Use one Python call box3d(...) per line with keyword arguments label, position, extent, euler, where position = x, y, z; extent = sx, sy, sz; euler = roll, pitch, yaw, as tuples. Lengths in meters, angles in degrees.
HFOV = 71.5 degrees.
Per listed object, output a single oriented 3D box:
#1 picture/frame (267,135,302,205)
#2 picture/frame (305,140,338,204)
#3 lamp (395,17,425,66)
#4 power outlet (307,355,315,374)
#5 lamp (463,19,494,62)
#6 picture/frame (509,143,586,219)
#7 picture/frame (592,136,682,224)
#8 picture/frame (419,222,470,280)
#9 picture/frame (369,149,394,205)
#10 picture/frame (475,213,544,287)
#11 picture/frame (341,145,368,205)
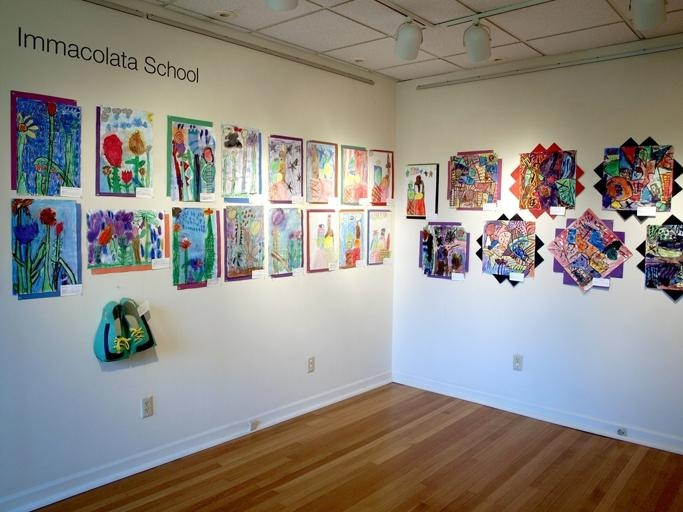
box3d(label="picture/frame", position=(-0.501, -0.789, 4.349), extent=(0.074, 0.598, 0.395), euler=(6, 9, 38))
box3d(label="picture/frame", position=(-0.202, -0.828, 4.615), extent=(0.064, 0.846, 0.578), euler=(2, 4, 38))
box3d(label="lamp", position=(0.500, -1.631, 3.602), extent=(0.238, 0.291, 0.324), euler=(6, 13, 9))
box3d(label="power outlet", position=(-0.286, 1.070, 4.657), extent=(0.105, 0.167, 0.010), euler=(-6, 9, -43))
box3d(label="lamp", position=(1.010, -1.598, 3.500), extent=(0.159, 0.298, 0.150), euler=(6, 8, 36))
box3d(label="picture/frame", position=(1.962, -0.706, 4.448), extent=(0.521, 0.556, 0.007), euler=(-29, -10, 25))
box3d(label="picture/frame", position=(2.575, -0.658, 4.076), extent=(0.712, 0.813, 0.010), euler=(-1, 0, 32))
box3d(label="picture/frame", position=(1.121, -0.058, 5.023), extent=(0.532, 0.618, 0.029), euler=(7, 8, 40))
box3d(label="picture/frame", position=(0.430, -0.873, 5.194), extent=(0.033, 0.790, 0.547), euler=(7, 9, 42))
box3d(label="picture/frame", position=(1.684, -0.064, 4.661), extent=(0.517, 0.545, 0.009), euler=(-35, -10, 33))
box3d(label="picture/frame", position=(0.130, -0.851, 4.925), extent=(0.034, 0.799, 0.556), euler=(7, 9, 39))
